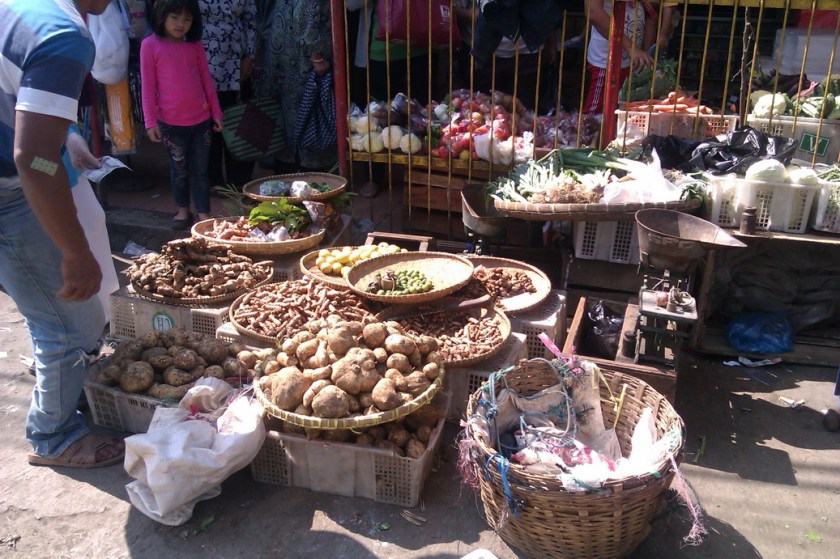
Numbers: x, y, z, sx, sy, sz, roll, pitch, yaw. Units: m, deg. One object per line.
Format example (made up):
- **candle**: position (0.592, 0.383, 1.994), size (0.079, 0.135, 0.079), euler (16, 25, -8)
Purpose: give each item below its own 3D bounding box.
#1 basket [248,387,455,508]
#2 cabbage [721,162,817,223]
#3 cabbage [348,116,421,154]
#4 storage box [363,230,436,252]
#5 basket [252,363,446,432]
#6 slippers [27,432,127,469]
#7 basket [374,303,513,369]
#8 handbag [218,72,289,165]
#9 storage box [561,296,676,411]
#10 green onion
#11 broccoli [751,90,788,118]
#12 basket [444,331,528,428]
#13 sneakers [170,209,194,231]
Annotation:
- **basket**: position (-0.491, 1.027, 3.650), size (0.887, 0.309, 0.661), euler (5, 20, 12)
- **cabbage**: position (2.768, -0.652, 4.524), size (0.703, 0.546, 0.179), euler (1, 19, -2)
- **cabbage**: position (-0.376, -1.506, 6.133), size (0.695, 0.290, 0.420), euler (12, 34, 25)
- **storage box**: position (-0.174, -0.339, 5.175), size (0.305, 0.130, 0.314), euler (8, 14, 26)
- **basket**: position (-0.438, 0.714, 3.430), size (0.970, 0.343, 0.316), euler (-5, -5, 10)
- **slippers**: position (-2.271, 1.140, 3.847), size (0.490, 0.143, 0.268), euler (1, 24, 2)
- **basket**: position (0.160, 0.404, 3.942), size (0.906, 0.392, 0.288), euler (-2, -3, 3)
- **handbag**: position (-2.031, -1.919, 7.076), size (0.572, 0.916, 0.461), euler (-20, 33, -38)
- **storage box**: position (1.435, 0.531, 4.205), size (0.735, 0.816, 1.231), euler (1, 1, 10)
- **green onion**: position (1.214, -0.888, 4.995), size (0.721, 0.272, 0.735), euler (5, 19, 27)
- **broccoli**: position (3.155, -1.580, 5.170), size (0.230, 0.090, 0.306), euler (16, 55, 38)
- **basket**: position (0.453, 0.738, 4.117), size (0.542, 0.362, 0.552), euler (5, 28, 24)
- **sneakers**: position (-2.788, -0.691, 6.720), size (0.139, 0.141, 0.402), euler (-1, 20, -10)
